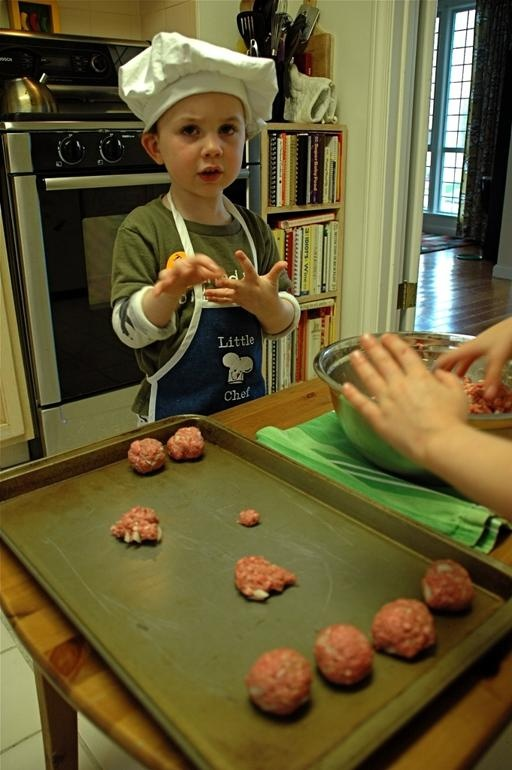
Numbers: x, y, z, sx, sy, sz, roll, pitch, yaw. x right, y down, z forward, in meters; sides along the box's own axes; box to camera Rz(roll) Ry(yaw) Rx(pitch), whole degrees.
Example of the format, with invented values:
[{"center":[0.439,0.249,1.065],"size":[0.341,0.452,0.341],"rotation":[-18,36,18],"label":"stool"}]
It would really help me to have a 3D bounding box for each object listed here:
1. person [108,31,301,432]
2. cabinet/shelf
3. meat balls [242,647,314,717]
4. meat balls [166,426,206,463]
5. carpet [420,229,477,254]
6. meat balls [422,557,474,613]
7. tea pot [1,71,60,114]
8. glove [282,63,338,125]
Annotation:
[{"center":[-0.078,-0.151,0.987],"size":[0.281,0.736,0.300],"rotation":[-11,21,-31],"label":"person"},{"center":[0.152,-0.480,2.217],"size":[0.416,0.969,0.371],"rotation":[-11,21,-29],"label":"cabinet/shelf"},{"center":[0.013,0.186,0.344],"size":[0.038,0.017,0.033],"rotation":[-6,15,-29],"label":"meat balls"},{"center":[-0.084,0.072,0.657],"size":[0.043,0.033,0.016],"rotation":[-15,-22,-2],"label":"meat balls"},{"center":[2.215,-1.674,6.504],"size":[0.551,0.095,1.346],"rotation":[3,20,16],"label":"carpet"},{"center":[0.143,0.154,0.419],"size":[0.045,0.032,0.041],"rotation":[7,13,-2],"label":"meat balls"},{"center":[-0.673,-0.829,1.585],"size":[0.147,0.104,0.152],"rotation":[-3,19,1],"label":"tea pot"},{"center":[0.195,-1.032,2.016],"size":[0.195,0.221,0.151],"rotation":[1,23,4],"label":"glove"}]
